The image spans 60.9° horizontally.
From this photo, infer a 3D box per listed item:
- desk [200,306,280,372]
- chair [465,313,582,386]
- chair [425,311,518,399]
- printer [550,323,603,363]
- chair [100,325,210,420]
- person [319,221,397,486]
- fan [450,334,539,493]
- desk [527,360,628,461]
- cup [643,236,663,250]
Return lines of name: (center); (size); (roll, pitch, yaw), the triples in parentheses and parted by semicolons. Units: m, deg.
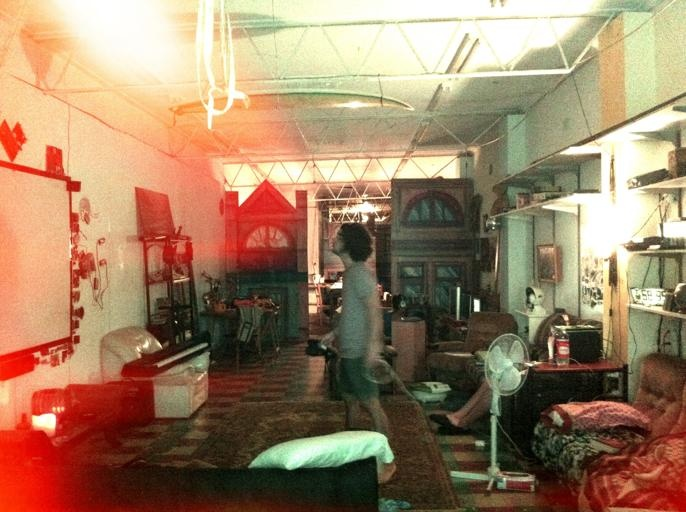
desk: (-2.301, 1.625, 12.428); (1.269, 0.820, 1.413); (-1, -5, 6)
chair: (2.566, 1.371, 8.387); (1.275, 1.055, 1.182); (-1, 0, 5)
chair: (2.116, 1.519, 9.538); (0.942, 1.137, 1.256); (4, 3, 44)
printer: (2.895, 1.039, 7.195); (0.528, 0.387, 0.492); (0, 0, 13)
chair: (-2.746, 1.673, 9.083); (1.304, 1.000, 2.225); (0, 1, -1)
person: (0.178, 0.726, 5.894); (0.485, 2.074, 0.586); (-1, 9, -1)
fan: (1.642, 1.643, 6.217); (0.824, 1.594, 0.505); (0, 9, 9)
desk: (2.693, 1.834, 7.230); (1.409, 1.099, 0.895); (0, 5, 6)
cup: (3.310, -0.131, 6.214); (0.105, 0.155, 0.251); (-2, 8, -9)
